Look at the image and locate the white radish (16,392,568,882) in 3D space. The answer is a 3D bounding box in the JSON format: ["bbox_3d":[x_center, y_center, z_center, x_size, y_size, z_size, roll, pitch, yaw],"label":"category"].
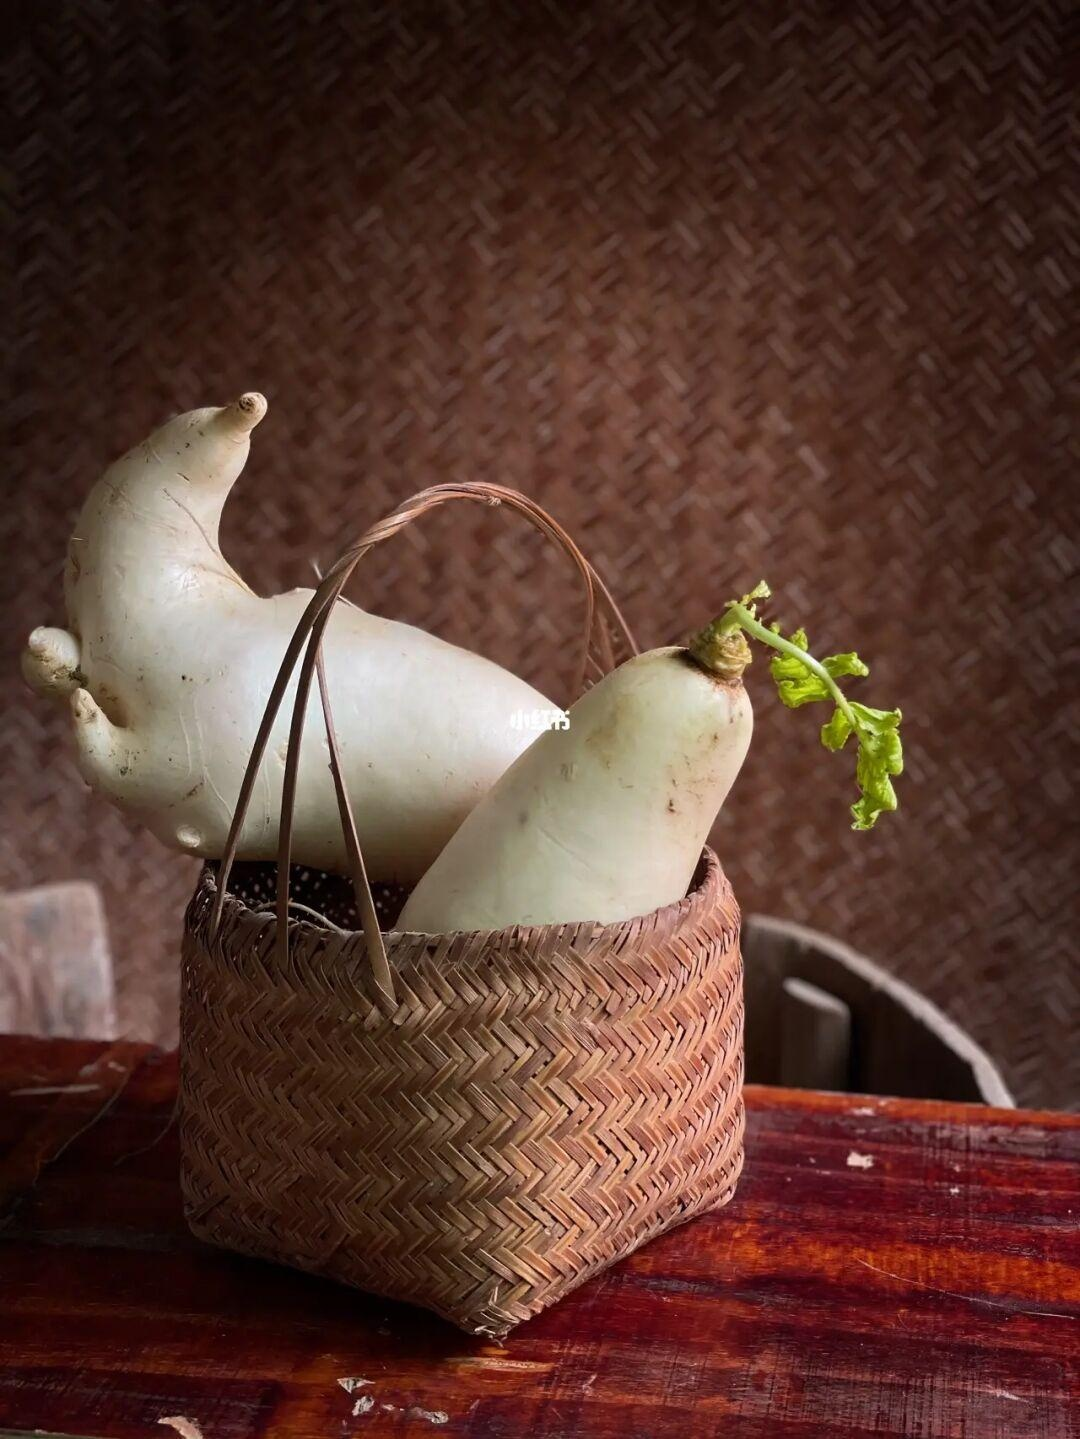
[{"bbox_3d":[-0.155,-0.069,1.046,0.431,0.216,0.223,21,19,-15],"label":"white radish"}]

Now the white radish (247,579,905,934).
[{"bbox_3d":[0.027,0.025,0.957,0.337,0.125,0.185,-33,-26,-2],"label":"white radish"}]

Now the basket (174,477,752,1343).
[{"bbox_3d":[-0.050,0.122,0.971,0.351,0.404,0.313,4,-6,-31],"label":"basket"}]
